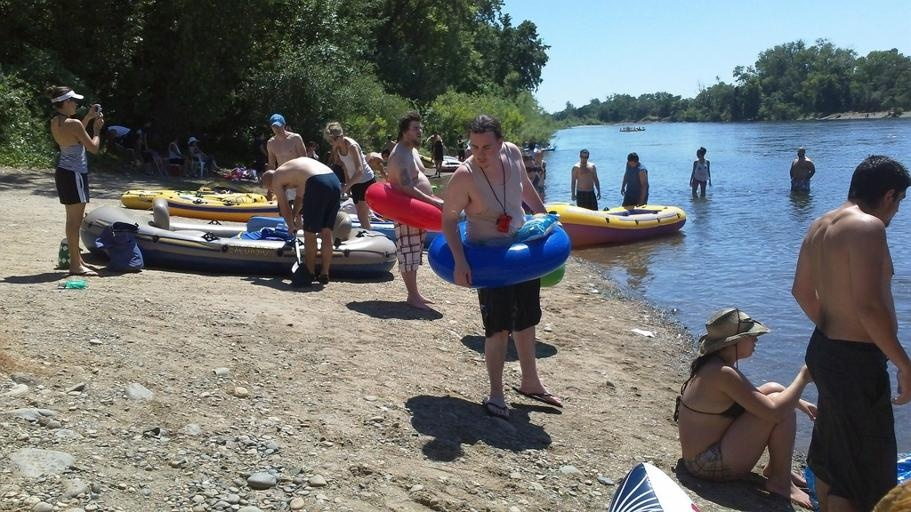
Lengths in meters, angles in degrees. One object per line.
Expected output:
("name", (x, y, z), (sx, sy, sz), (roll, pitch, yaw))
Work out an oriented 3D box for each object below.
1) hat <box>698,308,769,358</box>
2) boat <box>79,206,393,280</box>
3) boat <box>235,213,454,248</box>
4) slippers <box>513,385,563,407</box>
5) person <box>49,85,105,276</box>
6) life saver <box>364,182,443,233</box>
("hat", (3.474, 0.979, 10.570), (0.764, 0.606, 0.255), (2, 9, 10))
("boat", (-3.494, -0.144, 14.878), (3.846, 0.665, 2.097), (1, 8, -9))
("boat", (-2.513, -0.569, 16.381), (1.554, 0.399, 2.634), (3, 1, 37))
("slippers", (1.198, 1.969, 11.649), (0.748, 0.153, 0.243), (13, 2, 6))
("person", (-6.121, -1.391, 13.504), (0.961, 2.979, 1.111), (3, -1, 23))
("life saver", (-0.807, -0.763, 12.864), (1.216, 0.683, 0.255), (3, 10, 16))
